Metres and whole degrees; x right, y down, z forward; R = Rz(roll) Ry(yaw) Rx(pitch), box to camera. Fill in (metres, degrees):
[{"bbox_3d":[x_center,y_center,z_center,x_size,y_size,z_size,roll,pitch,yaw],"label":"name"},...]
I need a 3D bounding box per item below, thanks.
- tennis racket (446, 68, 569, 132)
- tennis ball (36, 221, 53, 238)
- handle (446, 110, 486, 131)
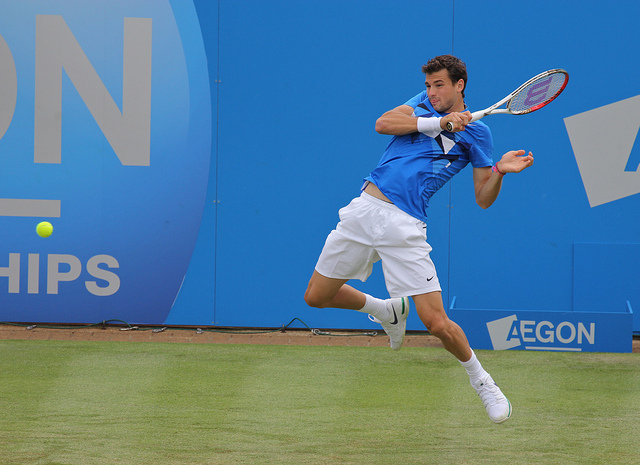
[{"bbox_3d":[1.355,-0.953,7.116,0.857,0.421,0.293,1,-2,-28],"label":"tennis racket"},{"bbox_3d":[-2.435,-0.029,8.803,0.138,0.127,0.067,1,-2,-18],"label":"tennis ball"},{"bbox_3d":[1.023,-0.768,6.835,0.335,0.163,0.130,1,-2,-36],"label":"handle"}]
